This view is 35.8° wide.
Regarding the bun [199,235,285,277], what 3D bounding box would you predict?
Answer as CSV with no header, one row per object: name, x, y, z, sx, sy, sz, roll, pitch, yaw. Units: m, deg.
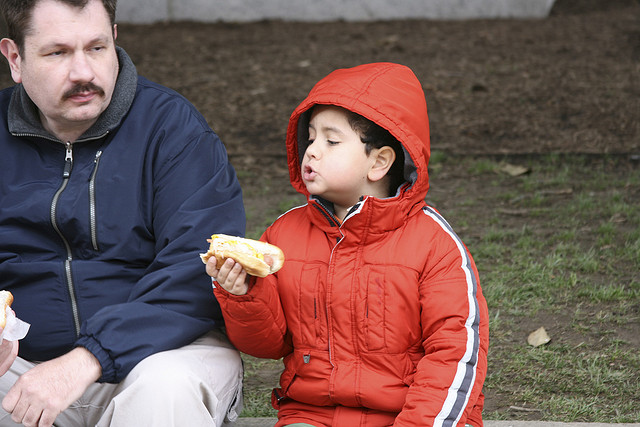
bun,-0.373,0.211,4.768,0.371,0.117,0.181,13,19,-7
